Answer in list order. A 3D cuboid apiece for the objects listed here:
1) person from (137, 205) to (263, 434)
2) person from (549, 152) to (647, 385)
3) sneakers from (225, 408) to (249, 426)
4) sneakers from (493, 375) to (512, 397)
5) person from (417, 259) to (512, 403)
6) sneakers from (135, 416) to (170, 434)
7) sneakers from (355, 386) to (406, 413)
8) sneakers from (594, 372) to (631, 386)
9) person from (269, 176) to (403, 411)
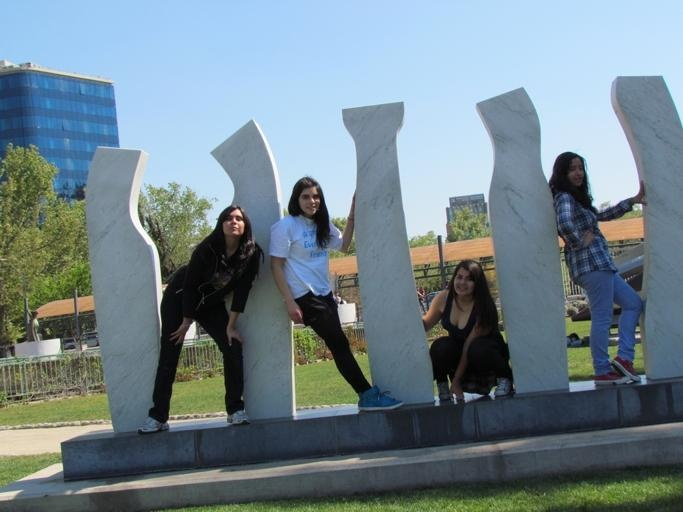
[{"bbox_3d":[-1.398,0.647,5.663,1.205,2.201,0.529,-7,-7,17],"label":"person"},{"bbox_3d":[2.649,0.096,5.631,1.038,2.424,0.704,1,-9,-45],"label":"person"},{"bbox_3d":[-1.038,1.639,5.460,0.096,0.123,0.244,6,-13,-29],"label":"sneakers"},{"bbox_3d":[1.648,1.344,5.549,0.097,0.140,0.306,-3,2,24],"label":"sneakers"},{"bbox_3d":[1.281,0.763,5.660,0.855,1.424,0.528,-7,-7,17],"label":"person"},{"bbox_3d":[-1.935,1.729,5.550,0.325,0.177,0.138,6,-12,-24],"label":"sneakers"},{"bbox_3d":[0.378,1.453,5.496,0.535,0.297,0.196,0,-6,4],"label":"sneakers"},{"bbox_3d":[2.727,1.254,5.503,0.384,0.189,0.139,-1,-9,2],"label":"sneakers"},{"bbox_3d":[-0.190,0.391,5.649,1.043,2.463,0.403,-4,-6,-10],"label":"person"}]
